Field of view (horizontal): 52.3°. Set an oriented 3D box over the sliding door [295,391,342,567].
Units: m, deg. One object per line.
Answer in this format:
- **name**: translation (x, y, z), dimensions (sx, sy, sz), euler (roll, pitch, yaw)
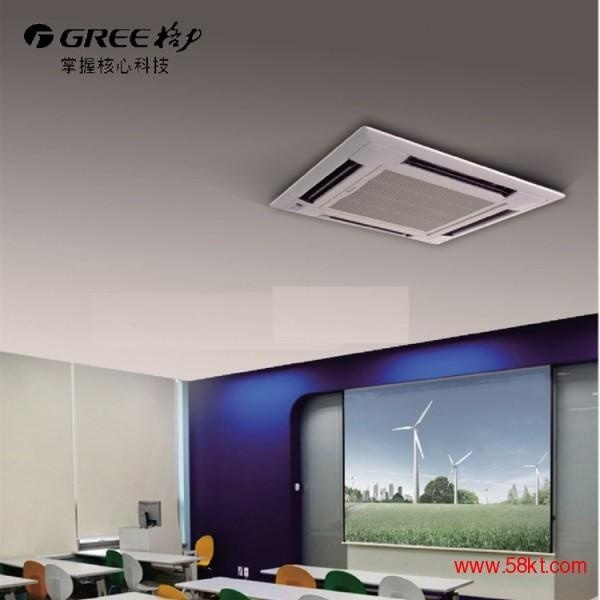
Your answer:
- **sliding door**: translation (0.274, 2.197, 7.493), dimensions (0.838, 2.711, 0.338), euler (-9, -13, 39)
